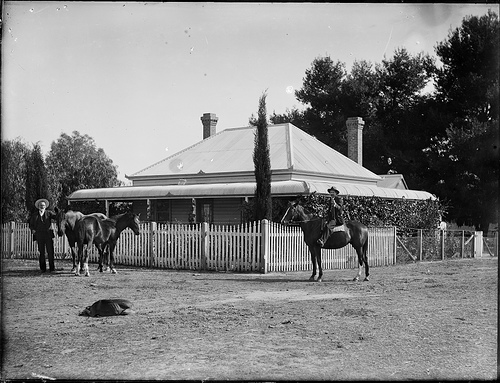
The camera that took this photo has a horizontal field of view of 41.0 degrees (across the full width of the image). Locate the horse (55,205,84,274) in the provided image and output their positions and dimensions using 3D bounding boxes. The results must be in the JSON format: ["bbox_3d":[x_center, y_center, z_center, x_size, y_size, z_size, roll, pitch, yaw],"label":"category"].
[{"bbox_3d":[-6.716,1.793,25.873,0.742,2.336,3.015,-4,-3,7],"label":"horse"}]

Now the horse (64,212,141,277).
[{"bbox_3d":[-5.495,1.783,25.352,0.748,2.193,2.835,6,0,39],"label":"horse"}]

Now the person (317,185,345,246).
[{"bbox_3d":[2.878,0.870,23.710,0.897,2.032,0.596,0,5,-2],"label":"person"}]

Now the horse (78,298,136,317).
[{"bbox_3d":[-3.754,3.022,17.661,1.451,0.361,0.719,0,5,-7],"label":"horse"}]

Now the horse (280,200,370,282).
[{"bbox_3d":[2.848,1.828,24.291,3.250,3.029,0.925,1,11,0],"label":"horse"}]
